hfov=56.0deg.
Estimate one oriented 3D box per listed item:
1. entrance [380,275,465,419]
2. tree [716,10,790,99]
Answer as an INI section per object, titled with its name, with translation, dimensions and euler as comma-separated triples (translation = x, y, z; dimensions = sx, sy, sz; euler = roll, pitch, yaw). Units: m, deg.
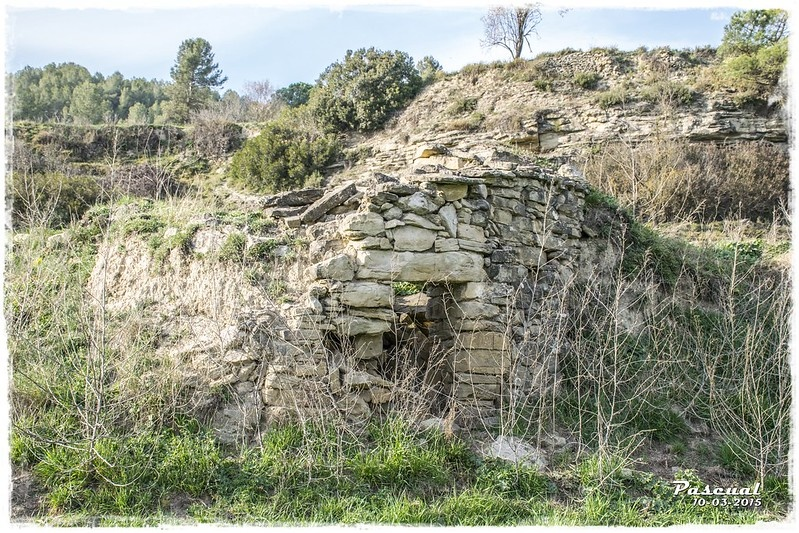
[entrance]
translation = 0.709, 1.335, 14.276
dimensions = 0.913, 2.089, 0.678
euler = -6, 24, -25
[tree]
translation = 10.913, -6.544, 23.395
dimensions = 2.239, 3.182, 1.690
euler = 1, -3, 43
